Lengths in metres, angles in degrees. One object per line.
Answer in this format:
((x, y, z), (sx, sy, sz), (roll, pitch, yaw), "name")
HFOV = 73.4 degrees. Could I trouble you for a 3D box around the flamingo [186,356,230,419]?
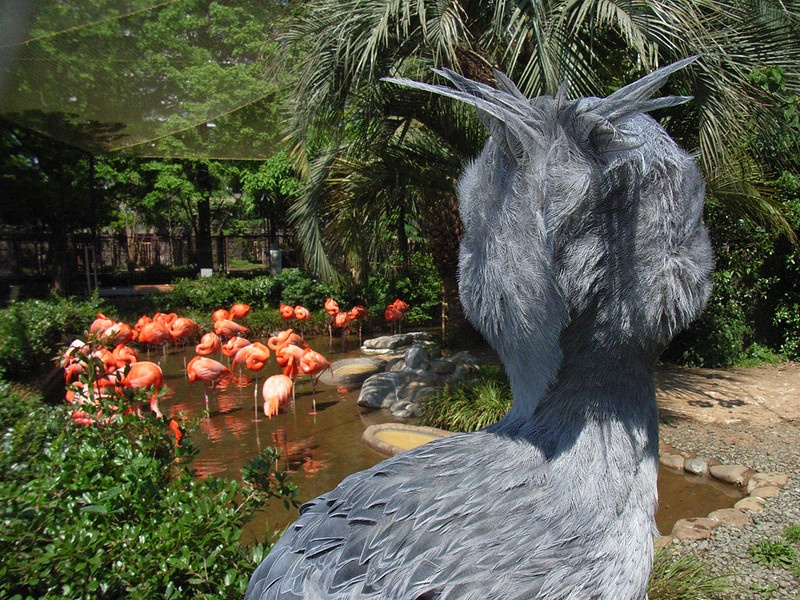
((-2.968, 1.189, 8.334), (0.544, 0.842, 1.251), (-4, 9, -21), "flamingo")
